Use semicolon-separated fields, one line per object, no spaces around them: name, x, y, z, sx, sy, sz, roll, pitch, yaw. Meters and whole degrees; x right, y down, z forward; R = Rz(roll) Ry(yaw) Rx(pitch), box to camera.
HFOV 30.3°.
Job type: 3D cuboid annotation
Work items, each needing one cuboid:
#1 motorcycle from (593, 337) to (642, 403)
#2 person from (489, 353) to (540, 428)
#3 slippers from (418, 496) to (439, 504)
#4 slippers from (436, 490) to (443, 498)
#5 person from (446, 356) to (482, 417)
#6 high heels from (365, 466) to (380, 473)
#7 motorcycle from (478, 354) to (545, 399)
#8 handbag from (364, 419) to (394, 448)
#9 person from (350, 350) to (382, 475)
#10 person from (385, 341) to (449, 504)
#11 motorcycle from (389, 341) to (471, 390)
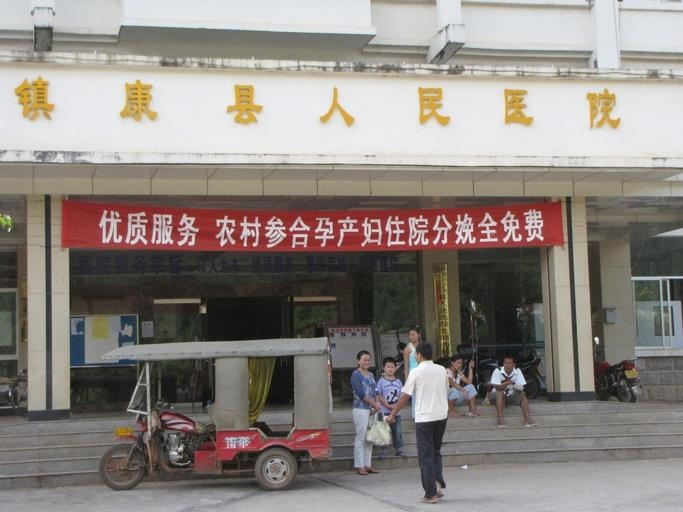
motorcycle;5.641;2.638;26.185;0.782;1.040;1.627;1;-3;-3
person;3.109;2.550;22.943;0.761;1.289;0.747;-1;-7;-5
slippers;1.342;3.795;19.136;0.319;0.111;0.194;-1;-7;-6
slippers;1.505;3.734;19.241;0.107;0.063;0.110;1;-1;-18
person;2.218;2.476;23.278;0.509;1.151;1.194;-2;-7;5
high heels;0.523;3.695;21.198;0.268;0.190;0.091;1;-4;1
motorcycle;3.611;2.526;26.203;1.509;0.990;0.743;3;-9;9
handbag;0.594;3.018;20.890;0.494;0.520;0.281;10;-19;-23
person;0.424;2.712;21.183;0.479;2.082;0.589;-2;-7;1
person;1.275;2.642;19.431;0.720;2.475;0.629;-1;-7;-1
motorcycle;1.550;2.099;23.011;1.761;1.086;0.835;2;-5;3
